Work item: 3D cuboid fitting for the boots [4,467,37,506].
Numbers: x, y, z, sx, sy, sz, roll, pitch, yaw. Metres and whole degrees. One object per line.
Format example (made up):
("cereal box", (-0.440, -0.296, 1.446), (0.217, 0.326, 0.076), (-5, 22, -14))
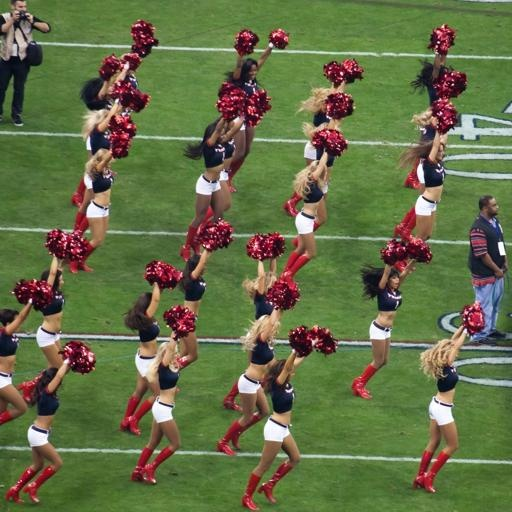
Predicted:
("boots", (-2.436, 2.341, 13.664), (0.264, 0.372, 0.329), (13, 13, 7))

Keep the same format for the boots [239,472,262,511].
("boots", (-0.036, 2.417, 13.718), (0.183, 0.383, 0.347), (11, 13, -2))

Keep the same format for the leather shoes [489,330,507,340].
("leather shoes", (3.112, 1.011, 16.896), (0.271, 0.100, 0.084), (-4, 21, -5))

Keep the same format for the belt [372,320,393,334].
("belt", (1.488, 0.840, 15.609), (0.215, 0.101, 0.145), (10, 13, 0))

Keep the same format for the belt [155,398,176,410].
("belt", (-0.969, 1.549, 13.811), (0.188, 0.079, 0.097), (10, 13, 1))

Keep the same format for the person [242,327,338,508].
("person", (0.348, 1.660, 14.249), (0.701, 1.897, 0.792), (2, -2, -42))

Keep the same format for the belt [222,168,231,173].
("belt", (-0.432, -1.230, 18.815), (0.137, 0.060, 0.176), (1, 10, -2))

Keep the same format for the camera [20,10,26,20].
("camera", (-3.706, -3.817, 20.845), (0.111, 0.134, 0.075), (8, 14, -12))

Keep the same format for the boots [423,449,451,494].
("boots", (1.942, 2.272, 14.142), (0.201, 0.428, 0.448), (14, 13, 10))

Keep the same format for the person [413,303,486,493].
("person", (2.013, 1.479, 14.099), (0.515, 2.002, 0.742), (11, 14, -5))

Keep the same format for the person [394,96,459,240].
("person", (2.535, -1.215, 19.484), (0.837, 2.544, 0.989), (7, 56, 12))

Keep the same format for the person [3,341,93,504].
("person", (-2.122, 1.691, 13.686), (0.651, 1.707, 0.692), (10, 14, -6))

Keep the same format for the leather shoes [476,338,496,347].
("leather shoes", (2.930, 1.111, 16.804), (0.280, 0.102, 0.096), (0, 8, 7))

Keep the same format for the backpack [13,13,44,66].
("backpack", (-3.622, -3.464, 21.179), (0.303, 0.731, 0.446), (-11, 15, -7))

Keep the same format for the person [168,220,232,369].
("person", (-0.679, 0.537, 16.297), (0.831, 2.126, 0.683), (9, 42, -1))

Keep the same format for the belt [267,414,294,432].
("belt", (0.235, 1.756, 13.689), (0.169, 0.141, 0.223), (1, -3, 18))

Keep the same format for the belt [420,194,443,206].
("belt", (2.400, -0.748, 18.135), (0.206, 0.049, 0.189), (15, 11, 7))

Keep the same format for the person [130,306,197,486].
("person", (-0.938, 1.434, 14.002), (0.461, 1.947, 0.671), (11, 14, -4))

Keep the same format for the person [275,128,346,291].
("person", (0.740, -0.671, 17.686), (0.496, 2.130, 0.502), (8, 14, -17))

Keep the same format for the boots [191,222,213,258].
("boots", (-0.667, -0.214, 16.188), (0.171, 0.346, 0.471), (29, -6, -7))

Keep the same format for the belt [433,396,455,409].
("belt", (1.995, 1.572, 14.142), (0.219, 0.072, 0.104), (16, 14, 26))
